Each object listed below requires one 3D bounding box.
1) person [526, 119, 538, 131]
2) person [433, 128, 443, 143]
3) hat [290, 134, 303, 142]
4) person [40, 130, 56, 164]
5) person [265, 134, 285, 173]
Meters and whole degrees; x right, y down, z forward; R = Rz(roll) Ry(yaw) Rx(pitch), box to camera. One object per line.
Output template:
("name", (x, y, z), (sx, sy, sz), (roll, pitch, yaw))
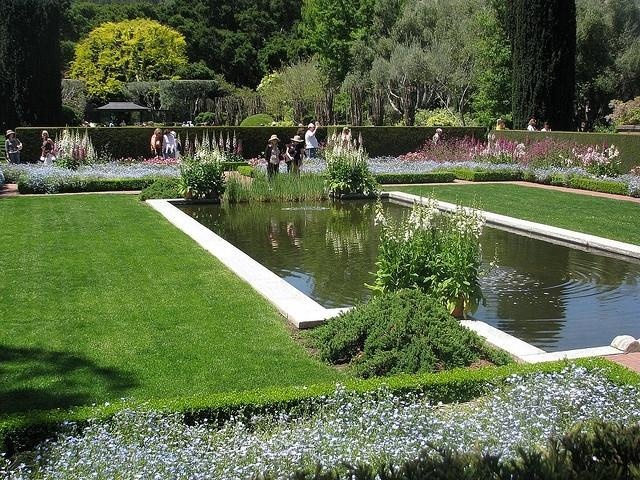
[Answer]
("person", (8.563, -4.618, 23.446), (0.355, 0.513, 1.491), (4, 11, 19))
("person", (5.231, -4.633, 26.016), (0.384, 0.633, 1.076), (3, 10, 16))
("hat", (-0.684, -3.020, 17.534), (0.562, 0.220, 0.595), (-3, 14, -19))
("person", (-9.402, -3.179, 20.054), (0.437, 1.122, 1.728), (-4, 11, -25))
("person", (-1.291, -2.293, 16.130), (0.410, 1.119, 1.163), (-1, 10, -5))
